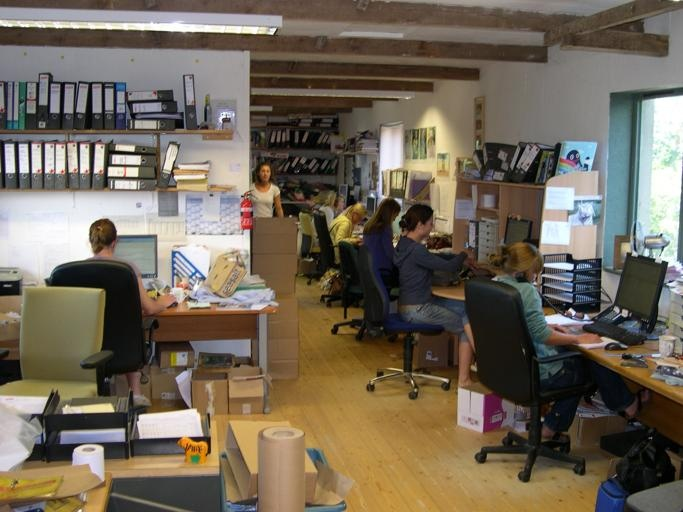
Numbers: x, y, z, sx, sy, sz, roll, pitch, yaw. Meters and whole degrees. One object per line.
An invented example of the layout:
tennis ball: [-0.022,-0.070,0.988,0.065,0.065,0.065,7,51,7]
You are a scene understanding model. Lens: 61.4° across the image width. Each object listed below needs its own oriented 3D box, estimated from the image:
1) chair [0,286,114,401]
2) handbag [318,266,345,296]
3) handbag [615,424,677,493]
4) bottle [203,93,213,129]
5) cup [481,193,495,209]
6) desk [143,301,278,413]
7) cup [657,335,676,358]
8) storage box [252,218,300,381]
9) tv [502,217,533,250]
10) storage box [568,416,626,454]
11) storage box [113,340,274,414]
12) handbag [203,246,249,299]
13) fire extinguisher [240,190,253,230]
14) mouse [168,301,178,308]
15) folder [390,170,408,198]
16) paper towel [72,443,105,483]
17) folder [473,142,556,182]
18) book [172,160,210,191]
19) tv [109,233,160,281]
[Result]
chair: [-1.691,0.522,3.437,0.587,0.622,0.414,-2,10,-7]
handbag: [-0.183,0.376,8.359,0.337,0.571,0.605,4,2,-16]
handbag: [1.639,1.112,3.076,0.408,0.237,0.174,-5,11,-26]
bottle: [-1.217,-1.316,5.221,0.072,0.330,0.290,-3,10,-13]
cup: [1.539,-0.597,6.156,0.186,0.178,0.133,6,11,9]
desk: [-0.997,0.520,4.415,1.072,0.755,0.831,0,12,-7]
cup: [1.851,0.519,3.329,0.109,0.115,0.106,-1,8,0]
storage box: [-0.600,0.387,5.130,0.445,1.361,1.377,-1,6,-4]
tv: [1.595,-0.210,5.167,0.049,0.285,0.337,2,3,-22]
storage box: [1.809,1.223,4.043,0.405,0.252,0.213,-1,1,-16]
storage box: [-1.010,0.988,4.444,0.737,0.278,0.726,2,3,-5]
handbag: [-0.903,0.151,4.757,0.298,0.391,0.122,33,-1,36]
fire extinguisher: [-0.898,-0.413,5.395,0.118,0.362,0.338,-3,10,-10]
mouse: [-1.274,0.364,4.336,0.055,0.022,0.074,1,8,-2]
folder: [0.942,-1.185,9.433,0.142,0.449,0.695,-2,10,-9]
paper towel: [-0.897,0.738,2.045,0.106,0.111,0.101,1,5,-11]
folder: [1.637,-0.892,5.488,0.203,0.419,0.570,3,8,-31]
book: [-1.333,-0.714,5.099,0.247,0.130,0.283,-1,5,-5]
tv: [-1.657,0.006,4.583,0.419,0.398,0.042,0,3,0]
